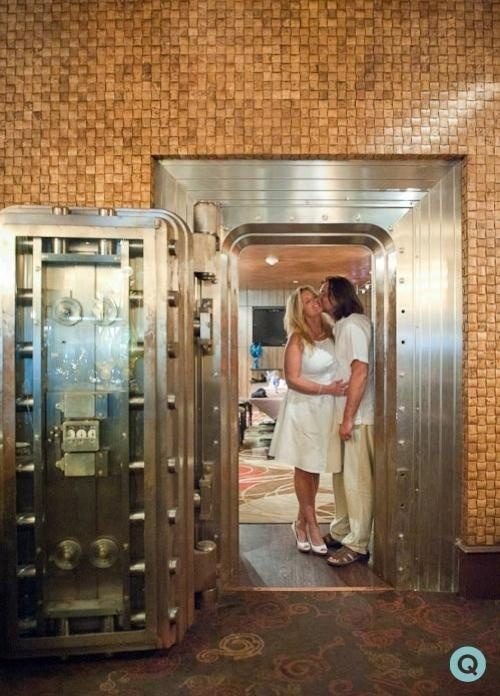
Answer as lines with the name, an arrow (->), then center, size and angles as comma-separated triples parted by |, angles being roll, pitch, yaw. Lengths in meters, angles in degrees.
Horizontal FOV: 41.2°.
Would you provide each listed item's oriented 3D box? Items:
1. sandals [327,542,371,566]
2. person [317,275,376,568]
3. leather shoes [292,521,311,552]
sandals -> 0.544, 1.122, 3.640 | 0.232, 0.111, 0.090 | 8, -12, -24
person -> 0.564, 0.381, 3.804 | 0.287, 1.588, 0.645 | -1, 1, 6
leather shoes -> 0.309, 1.091, 3.879 | 0.077, 0.136, 0.284 | -1, -16, -7
